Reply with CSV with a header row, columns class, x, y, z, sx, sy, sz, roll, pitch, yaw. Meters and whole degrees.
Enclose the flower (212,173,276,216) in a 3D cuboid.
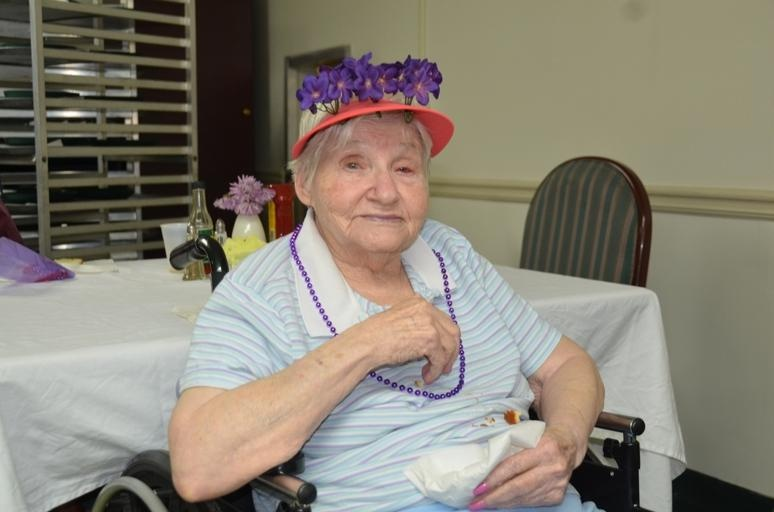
class,x,y,z,sx,sy,sz,roll,pitch,yaw
flower,-0.585,-0.255,2.449,0.191,0.151,0.204,4,18,9
